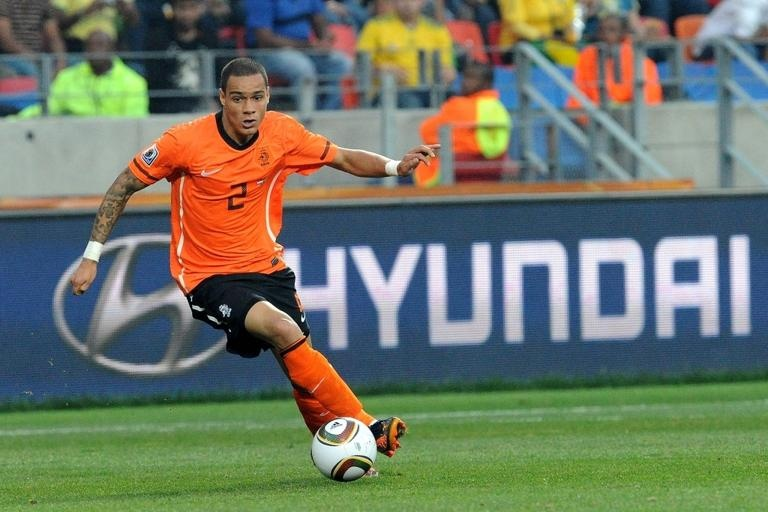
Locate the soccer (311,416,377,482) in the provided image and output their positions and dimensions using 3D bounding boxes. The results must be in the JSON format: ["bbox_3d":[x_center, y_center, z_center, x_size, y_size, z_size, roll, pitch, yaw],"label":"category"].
[{"bbox_3d":[-0.296,1.452,11.892,0.513,0.415,0.459,2,-2,-2],"label":"soccer"}]

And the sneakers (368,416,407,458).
[{"bbox_3d":[0.046,1.334,11.887,0.216,0.321,0.167,-6,7,11],"label":"sneakers"}]

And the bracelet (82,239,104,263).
[{"bbox_3d":[-2.258,-0.043,12.277,0.162,0.156,0.155,-7,-38,43],"label":"bracelet"}]

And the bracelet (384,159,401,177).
[{"bbox_3d":[0.055,-0.674,12.013,0.103,0.102,0.121,3,-24,-14],"label":"bracelet"}]
